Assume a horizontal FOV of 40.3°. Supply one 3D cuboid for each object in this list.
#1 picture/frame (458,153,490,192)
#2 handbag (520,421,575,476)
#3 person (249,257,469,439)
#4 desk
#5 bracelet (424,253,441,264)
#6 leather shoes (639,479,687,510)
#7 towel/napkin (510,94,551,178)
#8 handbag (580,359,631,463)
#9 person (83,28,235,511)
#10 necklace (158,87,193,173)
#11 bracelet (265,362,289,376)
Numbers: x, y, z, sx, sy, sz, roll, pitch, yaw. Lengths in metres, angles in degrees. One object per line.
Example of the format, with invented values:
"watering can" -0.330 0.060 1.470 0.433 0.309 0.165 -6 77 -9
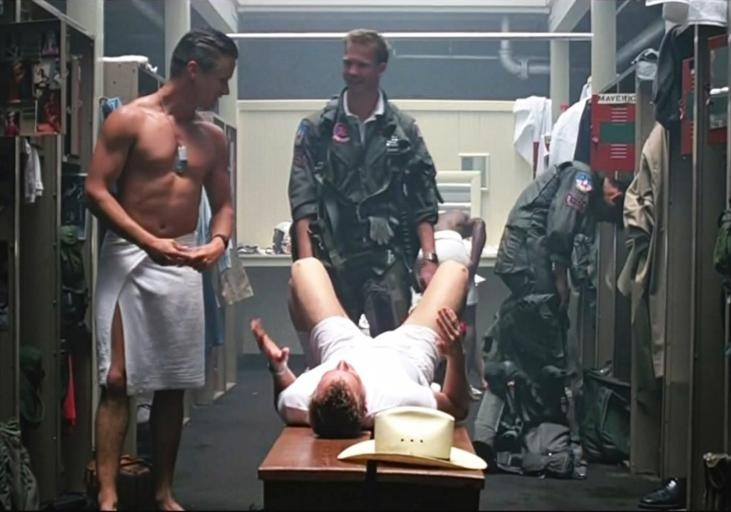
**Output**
"picture/frame" 0.475 -0.385 4.415 0.136 0.158 0.107 0 3 3
"handbag" 0.797 0.849 4.391 0.212 0.091 0.213 0 4 -7
"person" 0.051 0.408 4.525 0.990 0.517 1.182 -2 10 -20
"desk" -0.418 0.204 4.371 0.465 0.451 0.257 0 -3 -4
"bracelet" 0.290 0.010 4.422 0.048 0.052 0.049 14 7 -32
"leather shoes" 1.302 1.047 4.339 0.237 0.111 0.097 1 -5 -2
"towel/napkin" 0.742 -0.491 4.308 0.188 0.357 0.078 4 -9 1
"handbag" 1.083 0.726 4.560 0.148 0.377 0.379 5 0 10
"person" -0.851 0.059 4.252 0.618 2.070 0.243 0 1 -7
"necklace" -0.797 -0.543 4.245 0.111 0.385 0.067 1 1 -23
"bracelet" -0.386 0.488 4.285 0.086 0.052 0.035 1 2 34
